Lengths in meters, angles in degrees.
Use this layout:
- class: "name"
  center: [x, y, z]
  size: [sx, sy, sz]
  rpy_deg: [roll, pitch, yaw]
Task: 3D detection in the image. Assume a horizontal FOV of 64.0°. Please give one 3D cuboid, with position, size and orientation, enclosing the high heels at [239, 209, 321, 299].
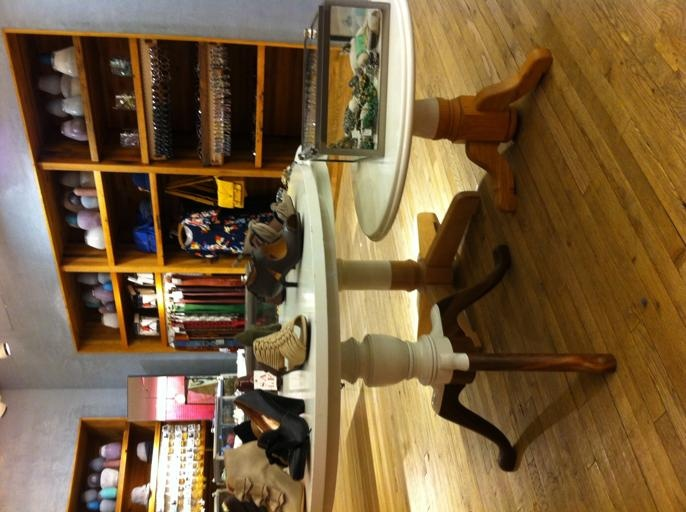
- class: "high heels"
  center: [-0.230, 0.019, 1.847]
  size: [0.126, 0.321, 0.159]
  rpy_deg: [-3, 18, -30]

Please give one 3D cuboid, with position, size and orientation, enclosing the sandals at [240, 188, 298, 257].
- class: "sandals"
  center: [-0.254, -0.101, 1.888]
  size: [0.128, 0.338, 0.109]
  rpy_deg: [7, 19, -25]

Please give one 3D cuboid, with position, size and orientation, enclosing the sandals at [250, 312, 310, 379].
- class: "sandals"
  center: [-0.184, 0.272, 1.621]
  size: [0.056, 0.246, 0.129]
  rpy_deg: [1, 79, -28]
